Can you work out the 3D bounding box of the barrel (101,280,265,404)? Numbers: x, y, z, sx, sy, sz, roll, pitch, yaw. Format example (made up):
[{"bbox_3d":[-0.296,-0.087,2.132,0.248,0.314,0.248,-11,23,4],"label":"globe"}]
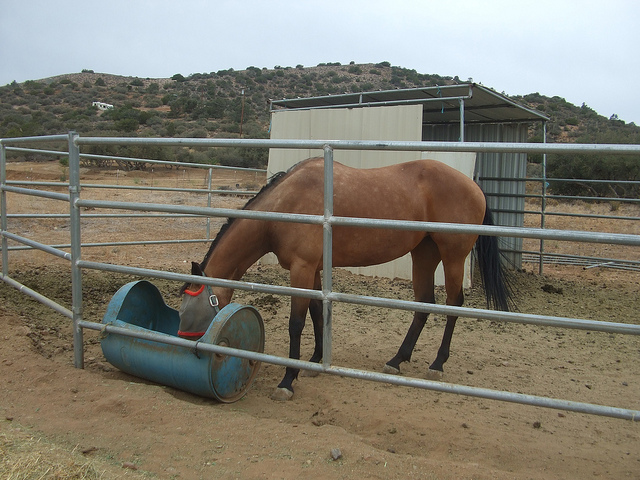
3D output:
[{"bbox_3d":[-1.200,0.849,4.668,1.247,0.846,0.715,6,10,29],"label":"barrel"}]

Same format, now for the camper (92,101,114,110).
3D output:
[{"bbox_3d":[-18.826,-11.660,46.996,1.690,0.660,1.066,7,8,29],"label":"camper"}]

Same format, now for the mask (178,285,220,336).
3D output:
[{"bbox_3d":[-0.991,0.576,4.429,0.317,0.407,0.297,2,12,-12],"label":"mask"}]

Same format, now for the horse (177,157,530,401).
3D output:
[{"bbox_3d":[0.373,0.343,5.324,3.612,2.214,0.887,-2,5,-15],"label":"horse"}]
